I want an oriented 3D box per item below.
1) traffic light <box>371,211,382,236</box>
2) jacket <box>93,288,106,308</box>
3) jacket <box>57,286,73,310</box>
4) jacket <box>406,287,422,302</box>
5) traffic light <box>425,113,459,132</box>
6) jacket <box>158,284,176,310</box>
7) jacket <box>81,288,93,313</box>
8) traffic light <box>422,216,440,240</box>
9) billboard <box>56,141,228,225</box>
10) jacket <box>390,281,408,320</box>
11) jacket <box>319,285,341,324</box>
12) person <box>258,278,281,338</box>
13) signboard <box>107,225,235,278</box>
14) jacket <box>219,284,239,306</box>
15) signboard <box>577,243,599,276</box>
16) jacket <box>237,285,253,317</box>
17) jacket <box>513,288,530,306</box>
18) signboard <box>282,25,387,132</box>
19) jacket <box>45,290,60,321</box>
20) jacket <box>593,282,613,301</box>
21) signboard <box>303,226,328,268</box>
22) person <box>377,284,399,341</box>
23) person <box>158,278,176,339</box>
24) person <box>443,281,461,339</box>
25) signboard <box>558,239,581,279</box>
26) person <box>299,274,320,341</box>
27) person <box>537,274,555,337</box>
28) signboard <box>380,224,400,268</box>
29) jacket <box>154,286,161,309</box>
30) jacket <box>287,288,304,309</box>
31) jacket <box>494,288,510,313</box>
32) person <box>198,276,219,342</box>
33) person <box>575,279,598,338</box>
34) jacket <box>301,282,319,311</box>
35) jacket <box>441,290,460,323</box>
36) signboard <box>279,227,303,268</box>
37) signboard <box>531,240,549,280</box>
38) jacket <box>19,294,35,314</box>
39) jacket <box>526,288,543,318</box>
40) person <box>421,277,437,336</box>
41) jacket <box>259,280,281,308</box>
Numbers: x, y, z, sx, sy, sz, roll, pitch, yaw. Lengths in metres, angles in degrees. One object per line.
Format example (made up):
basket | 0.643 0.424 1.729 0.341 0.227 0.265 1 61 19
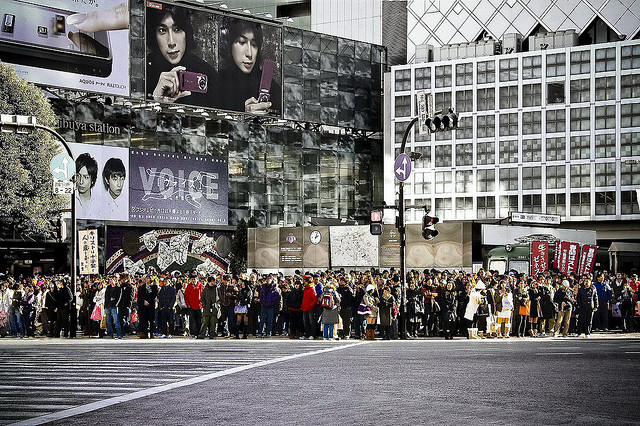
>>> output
traffic light | 2.248 0.373 33.579 0.418 0.862 0.352 0 -4 2
jacket | -9.041 3.514 35.673 0.327 0.742 0.536 18 -24 -32
jacket | -10.575 3.567 36.127 0.678 1.242 1.212 3 1 -17
jacket | 3.875 3.382 35.416 0.741 0.507 0.235 2 -4 -32
traffic light | 4.689 -3.268 31.868 0.652 0.334 0.922 -14 -10 27
jacket | -5.961 3.428 35.098 0.888 1.225 0.706 -1 -16 3
jacket | -9.899 3.737 36.989 0.356 0.954 1.016 1 -4 -20
traffic light | 4.509 0.557 34.181 0.594 0.818 0.923 -2 -4 32
billboard | -13.024 -2.037 67.824 0.245 5.873 14.931 -18 -14 40
jacket | 3.146 3.471 34.519 0.434 1.228 0.889 8 1 -29
jacket | 0.489 3.531 33.430 0.916 1.543 0.807 1 8 32
person | -2.045 3.915 35.561 0.873 2.431 1.116 0 -4 -5
signboard | -11.223 3.224 67.388 10.126 5.866 0.188 3 -47 -9
jacket | -3.557 3.350 35.158 0.888 1.031 0.712 1 -21 -13
signboard | 13.779 2.414 44.334 1.717 2.092 0.218 4 8 -42
jacket | -2.947 3.392 34.794 0.661 0.935 0.452 2 -4 -24
jacket | 8.072 3.388 34.514 0.525 0.721 0.259 1 -3 11
signboard | 1.519 -12.500 82.043 11.909 8.733 0.638 3 -5 -39
jacket | -11.133 3.896 36.127 0.563 1.322 1.286 1 -4 -17
jacket | 11.893 3.318 36.287 0.731 0.746 0.399 -2 -15 -9
signboard | -0.123 1.961 49.146 2.301 3.108 0.304 1 1 43
person | 2.674 3.866 33.742 0.750 2.149 0.902 0 -4 4
person | -6.143 3.874 35.089 0.672 2.399 0.834 1 -4 -10
person | 5.433 3.933 35.081 0.643 2.275 1.457 -1 -4 10
signboard | 12.109 2.301 41.911 1.661 1.950 0.149 -2 5 -30
person | -0.356 3.724 34.108 0.769 2.548 0.969 0 -4 -1
person | 9.225 3.783 35.095 0.632 2.479 1.275 -1 -4 15
signboard | 3.973 1.874 46.691 1.485 2.182 1.515 2 -4 -17
jacket | -6.509 3.402 35.004 0.239 1.416 0.445 2 26 -15
jacket | -0.917 3.457 34.622 0.739 0.734 0.420 1 -12 26
jacket | 7.145 3.482 34.504 0.295 0.909 0.527 0 -4 -2
person | -4.376 3.778 34.377 0.797 2.479 1.128 1 -4 -10
person | 10.761 3.845 34.849 1.115 2.279 0.528 4 -5 -45
jacket | -0.341 3.343 33.913 0.525 1.063 0.831 18 -23 -28
jacket | 5.345 3.771 34.826 0.627 1.291 1.065 -3 -5 37
signboard | -1.580 2.044 50.497 0.379 2.344 1.916 3 -5 -44
signboard | 10.920 2.335 42.523 0.872 2.022 0.190 -7 -39 25
jacket | -12.340 3.876 36.608 0.566 0.807 0.460 1 -4 -20
jacket | 8.691 3.617 34.663 0.525 1.110 0.349 -1 -4 10
person | 4.546 3.892 35.643 0.601 2.411 1.088 0 -4 4
jacket | -1.986 3.315 35.319 0.963 1.113 0.569 4 2 25
